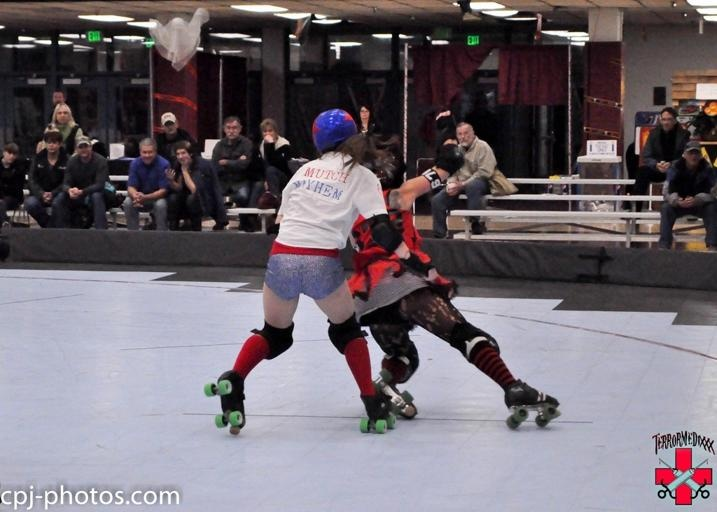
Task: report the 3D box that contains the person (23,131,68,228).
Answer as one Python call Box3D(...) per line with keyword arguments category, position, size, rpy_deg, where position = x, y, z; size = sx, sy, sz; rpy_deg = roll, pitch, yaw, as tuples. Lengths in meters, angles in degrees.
Box3D(category="person", position=(-4.036, -0.946, 11.748), size=(0.585, 1.347, 0.787), rpy_deg=(1, 11, -14))

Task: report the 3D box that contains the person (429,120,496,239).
Box3D(category="person", position=(1.339, -0.993, 11.567), size=(0.936, 1.430, 0.888), rpy_deg=(-5, -3, 17))

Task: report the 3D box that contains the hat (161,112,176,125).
Box3D(category="hat", position=(-2.559, -1.850, 12.135), size=(0.180, 0.140, 0.224), rpy_deg=(-2, 10, -8))

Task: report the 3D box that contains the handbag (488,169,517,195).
Box3D(category="handbag", position=(1.819, -0.983, 11.713), size=(0.291, 0.127, 0.351), rpy_deg=(-6, 38, 0))

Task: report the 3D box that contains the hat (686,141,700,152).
Box3D(category="hat", position=(3.769, -1.254, 10.209), size=(0.156, 0.103, 0.258), rpy_deg=(3, 11, 19))

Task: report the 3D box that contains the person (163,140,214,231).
Box3D(category="person", position=(-2.168, -0.775, 11.474), size=(0.560, 1.254, 0.749), rpy_deg=(-3, -3, 25))

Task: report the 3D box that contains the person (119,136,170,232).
Box3D(category="person", position=(-2.698, -0.909, 11.360), size=(0.625, 1.158, 0.511), rpy_deg=(-5, 21, -18))

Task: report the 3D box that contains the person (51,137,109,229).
Box3D(category="person", position=(-3.521, -0.890, 11.497), size=(0.559, 1.204, 0.614), rpy_deg=(13, 18, 40))

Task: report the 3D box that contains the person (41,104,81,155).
Box3D(category="person", position=(-4.147, -1.839, 12.644), size=(0.449, 0.838, 0.437), rpy_deg=(-7, 22, -15))

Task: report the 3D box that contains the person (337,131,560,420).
Box3D(category="person", position=(0.281, 0.151, 5.519), size=(1.587, 2.060, 0.672), rpy_deg=(-21, -22, 29))
